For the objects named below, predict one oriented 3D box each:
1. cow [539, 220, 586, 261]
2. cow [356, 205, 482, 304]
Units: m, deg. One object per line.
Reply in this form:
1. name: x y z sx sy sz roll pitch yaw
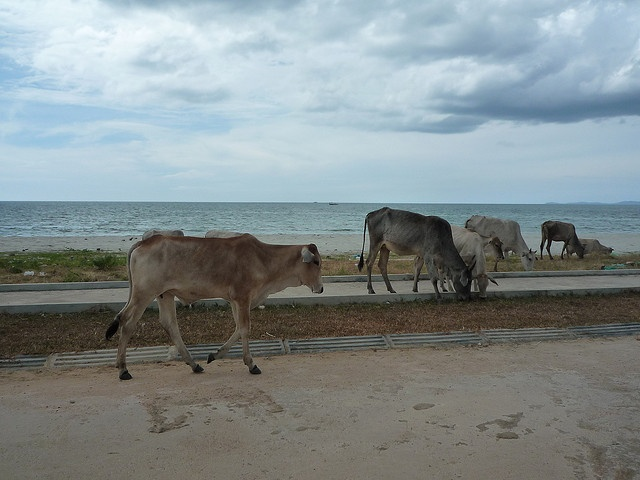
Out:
1. cow: 13.019 0.105 23.985 2.877 2.023 0.825 6 0 -18
2. cow: 2.823 0.497 12.969 3.811 2.474 1.005 8 3 42
